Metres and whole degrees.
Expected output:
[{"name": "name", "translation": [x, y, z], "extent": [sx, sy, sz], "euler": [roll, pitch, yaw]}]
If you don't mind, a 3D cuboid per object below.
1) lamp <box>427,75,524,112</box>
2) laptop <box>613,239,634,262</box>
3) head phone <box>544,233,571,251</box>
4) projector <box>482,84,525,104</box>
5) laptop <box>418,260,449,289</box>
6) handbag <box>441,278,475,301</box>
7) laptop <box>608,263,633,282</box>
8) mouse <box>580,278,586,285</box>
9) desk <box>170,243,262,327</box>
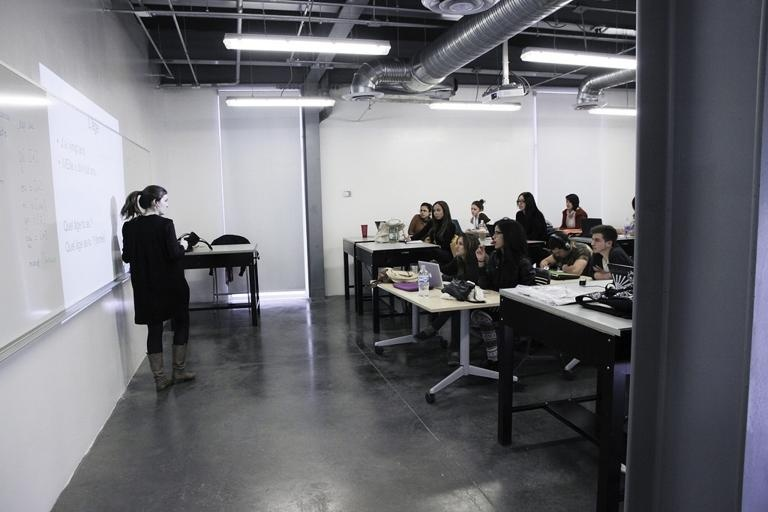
[{"name": "lamp", "translation": [1.371, -2.209, 7.792], "extent": [1.121, 0.342, 0.795], "euler": [0, 4, -8]}, {"name": "laptop", "translation": [2.536, -0.076, 5.645], "extent": [0.336, 0.236, 0.195], "euler": [-2, 2, -20]}, {"name": "head phone", "translation": [1.878, -0.162, 5.752], "extent": [0.174, 0.183, 0.233], "euler": [-7, -38, 31]}, {"name": "projector", "translation": [1.507, -2.092, 6.746], "extent": [0.368, 0.204, 0.560], "euler": [-11, 15, -36]}, {"name": "laptop", "translation": [0.450, 0.168, 4.992], "extent": [0.237, 0.192, 0.276], "euler": [4, 1, -30]}, {"name": "handbag", "translation": [0.633, 0.277, 4.529], "extent": [0.185, 0.087, 0.190], "euler": [10, 26, 37]}, {"name": "laptop", "translation": [1.417, 0.095, 3.190], "extent": [0.123, 0.111, 0.234], "euler": [3, 13, 23]}, {"name": "mouse", "translation": [1.369, 0.175, 3.674], "extent": [0.043, 0.041, 0.010], "euler": [1, 0, -24]}, {"name": "desk", "translation": [-2.268, 0.372, 7.002], "extent": [1.183, 0.975, 0.943], "euler": [-4, 8, -23]}]
